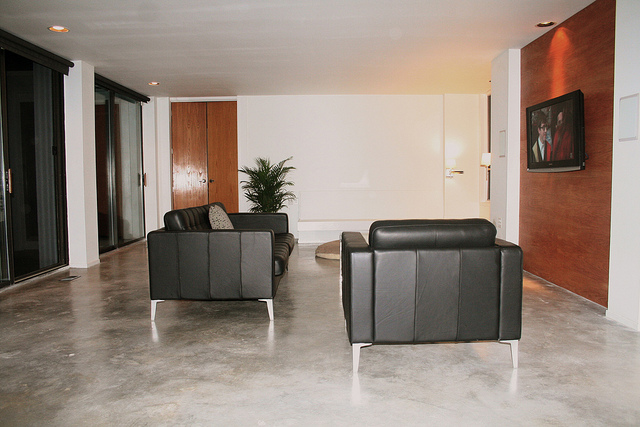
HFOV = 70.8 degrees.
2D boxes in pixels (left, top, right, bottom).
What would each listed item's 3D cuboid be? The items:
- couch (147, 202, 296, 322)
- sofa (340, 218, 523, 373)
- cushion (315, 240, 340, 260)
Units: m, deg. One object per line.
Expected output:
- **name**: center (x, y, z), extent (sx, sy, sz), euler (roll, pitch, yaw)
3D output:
- **couch**: center (-1.073, 0.443, 5.819), extent (1.486, 1.000, 2.534), euler (1, 5, 2)
- **sofa**: center (0.921, 0.593, 4.326), extent (1.471, 1.215, 1.303), euler (-1, 5, 0)
- **cushion**: center (0.129, 0.619, 7.504), extent (0.396, 0.188, 0.748), euler (0, 13, 0)
